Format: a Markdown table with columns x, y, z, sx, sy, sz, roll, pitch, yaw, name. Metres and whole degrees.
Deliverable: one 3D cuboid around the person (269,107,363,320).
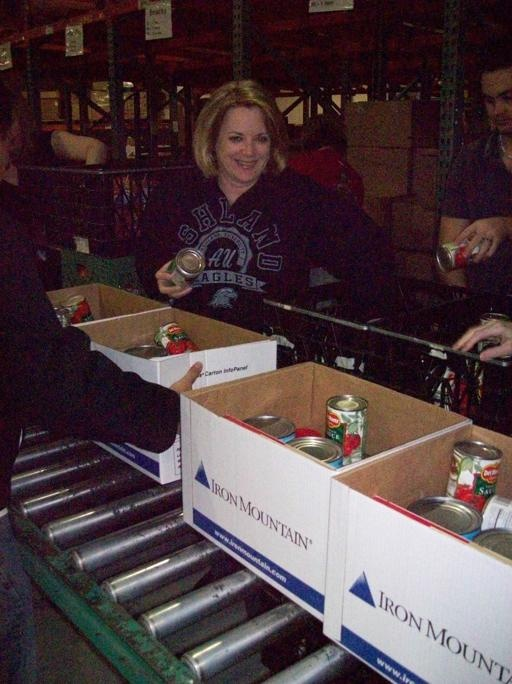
| x | y | z | sx | sy | sz | roll | pitch | yaw | name |
| --- | --- | --- | --- | --- | --- | --- | --- | --- | --- |
| 0.662 | -1.101 | 4.440 | 0.731 | 0.900 | 0.963 | -9 | 18 | 15 | person |
